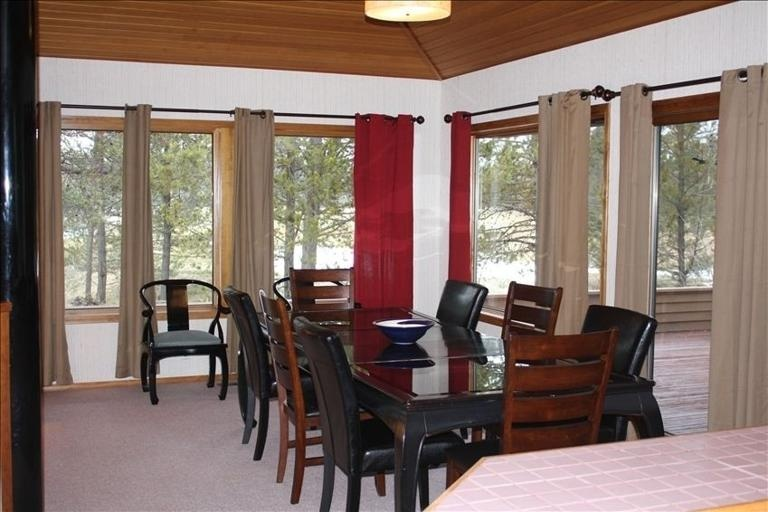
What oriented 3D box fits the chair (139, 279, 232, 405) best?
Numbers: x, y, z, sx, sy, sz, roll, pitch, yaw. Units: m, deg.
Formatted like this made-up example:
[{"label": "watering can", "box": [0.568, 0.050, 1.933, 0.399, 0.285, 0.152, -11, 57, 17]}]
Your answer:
[{"label": "chair", "box": [-1.904, 0.780, 5.927, 0.815, 1.076, 0.961, -3, 9, -22]}]
